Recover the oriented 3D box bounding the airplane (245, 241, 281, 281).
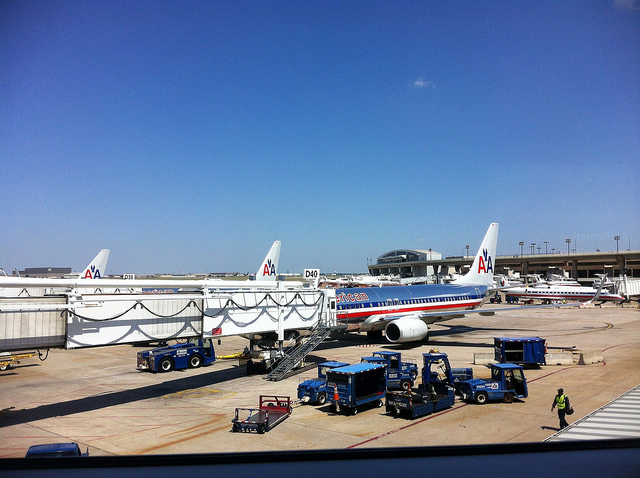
[{"bbox_3d":[-5.605,2.449,61.157,2.176,4.184,3.630,-1,-1,-7],"label":"airplane"}]

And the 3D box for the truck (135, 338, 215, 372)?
[{"bbox_3d":[-9.231,7.692,36.387,4.411,1.428,1.555,0,-1,-39],"label":"truck"}]

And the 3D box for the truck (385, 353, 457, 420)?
[{"bbox_3d":[5.107,7.115,27.421,3.200,2.050,5.203,-1,-1,13],"label":"truck"}]

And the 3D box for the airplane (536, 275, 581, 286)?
[{"bbox_3d":[45.544,7.921,106.022,4.713,1.361,3.307,-2,5,-9],"label":"airplane"}]

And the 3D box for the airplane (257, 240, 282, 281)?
[{"bbox_3d":[-5.597,2.448,61.123,2.222,4.184,3.736,-1,-1,-5],"label":"airplane"}]

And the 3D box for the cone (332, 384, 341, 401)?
[{"bbox_3d":[0.764,7.235,26.427,0.278,0.691,0.270,-2,-1,36],"label":"cone"}]

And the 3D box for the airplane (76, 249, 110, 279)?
[{"bbox_3d":[-24.074,2.756,59.693,1.684,2.930,3.137,-1,-1,10],"label":"airplane"}]
